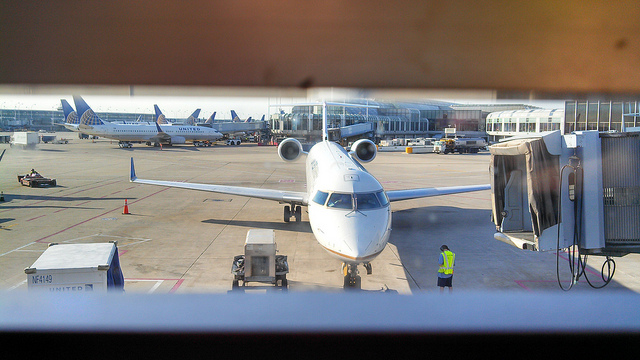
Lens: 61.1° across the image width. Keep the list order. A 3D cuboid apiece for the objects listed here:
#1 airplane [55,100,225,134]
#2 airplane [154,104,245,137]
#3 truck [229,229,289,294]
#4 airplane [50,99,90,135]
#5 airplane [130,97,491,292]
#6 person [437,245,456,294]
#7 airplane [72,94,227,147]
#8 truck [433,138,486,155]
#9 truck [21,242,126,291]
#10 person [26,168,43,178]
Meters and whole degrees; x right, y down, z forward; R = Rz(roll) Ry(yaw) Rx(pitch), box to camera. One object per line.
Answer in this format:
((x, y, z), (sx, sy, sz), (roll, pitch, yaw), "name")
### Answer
((-22.556, -6.765, 63.557), (10.695, 2.779, 10.103), (-4, 11, -35), "airplane")
((-17.355, -7.415, 74.738), (11.516, 4.218, 10.452), (2, 11, 4), "airplane")
((-1.657, 2.284, 14.756), (1.539, 1.628, 1.137), (0, 13, -3), "truck")
((-29.599, -7.441, 63.846), (1.809, 3.643, 4.039), (-4, 13, -20), "airplane")
((0.325, 0.577, 19.076), (10.249, 3.214, 9.925), (0, 11, -1), "airplane")
((3.528, 2.345, 15.037), (0.407, 1.326, 1.491), (4, 12, 14), "person")
((-23.501, -6.472, 71.705), (15.156, 4.388, 14.651), (-5, 14, -44), "airplane")
((17.203, -4.073, 65.136), (7.501, 1.647, 2.282), (-2, 6, -23), "truck")
((-5.569, 2.055, 12.876), (1.636, 0.859, 1.485), (1, 0, 2), "truck")
((-16.810, -0.317, 31.671), (0.960, 0.371, 0.889), (-3, 9, -28), "person")
